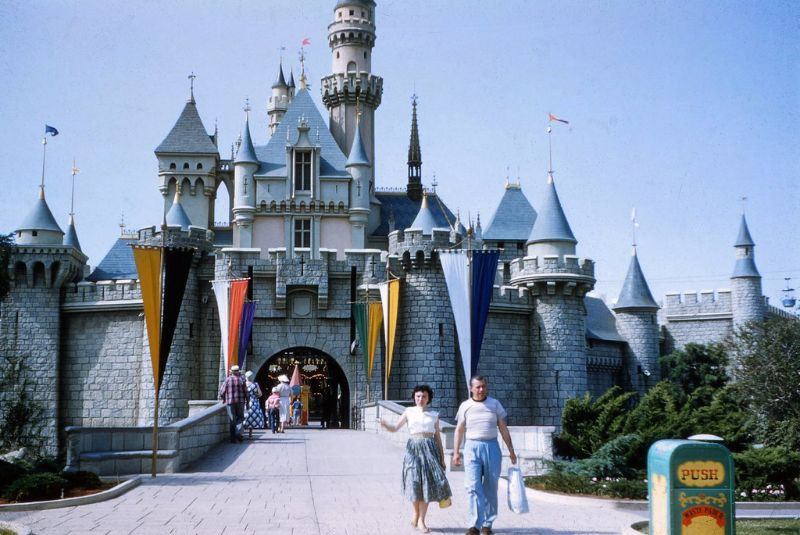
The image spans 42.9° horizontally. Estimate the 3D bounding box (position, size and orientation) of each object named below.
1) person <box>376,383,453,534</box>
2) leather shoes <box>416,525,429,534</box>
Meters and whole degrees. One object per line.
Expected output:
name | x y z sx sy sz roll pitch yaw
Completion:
person | 0.469 3.433 18.503 0.837 2.587 0.579 -1 -4 1
leather shoes | 0.388 4.666 18.210 0.308 0.119 0.177 -4 -5 40
